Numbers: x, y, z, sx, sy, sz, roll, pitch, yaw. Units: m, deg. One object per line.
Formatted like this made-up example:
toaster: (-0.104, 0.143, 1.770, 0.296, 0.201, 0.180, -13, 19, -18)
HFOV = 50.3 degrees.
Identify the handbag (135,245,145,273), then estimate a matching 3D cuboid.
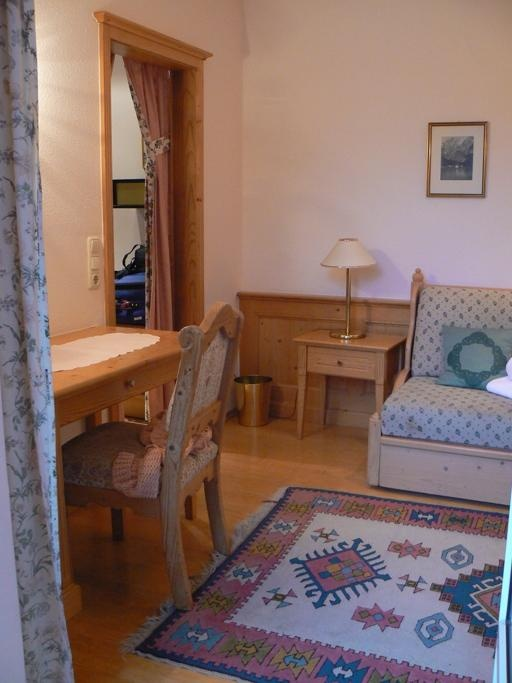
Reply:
handbag: (-1.031, -0.715, 4.808, 0.080, 0.211, 0.219, -2, 7, -14)

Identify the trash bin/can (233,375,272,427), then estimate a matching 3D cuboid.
trash bin/can: (-0.041, 0.387, 3.781, 0.313, 0.334, 0.304, -3, 10, -11)

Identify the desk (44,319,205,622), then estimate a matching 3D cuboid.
desk: (-0.430, 0.448, 1.790, 0.428, 0.577, 0.846, 2, 13, 11)

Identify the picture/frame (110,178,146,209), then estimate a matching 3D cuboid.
picture/frame: (-1.131, -1.313, 4.844, 0.442, 0.262, 0.170, 5, 9, 37)

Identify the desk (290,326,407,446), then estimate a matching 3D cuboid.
desk: (0.583, 0.121, 3.549, 0.868, 0.865, 0.609, 4, 11, 26)

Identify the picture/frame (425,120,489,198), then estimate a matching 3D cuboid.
picture/frame: (1.226, -1.111, 3.276, 0.464, 0.587, 0.025, 4, 9, 30)
